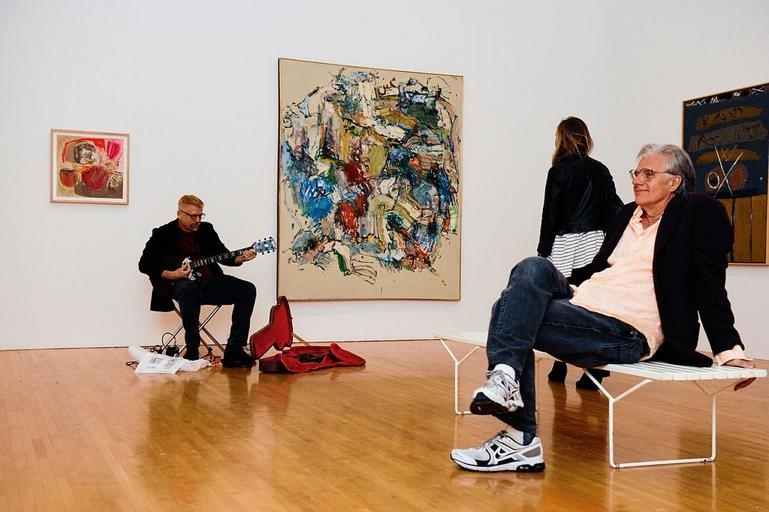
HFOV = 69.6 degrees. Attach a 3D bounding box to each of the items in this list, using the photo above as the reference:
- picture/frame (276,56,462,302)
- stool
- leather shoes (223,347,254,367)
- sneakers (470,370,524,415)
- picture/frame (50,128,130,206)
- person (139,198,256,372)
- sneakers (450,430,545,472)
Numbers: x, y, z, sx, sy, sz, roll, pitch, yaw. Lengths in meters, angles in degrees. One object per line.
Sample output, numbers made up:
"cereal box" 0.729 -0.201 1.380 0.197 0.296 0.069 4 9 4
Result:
"picture/frame" -0.302 -0.931 6.847 2.933 3.489 0.152 0 1 -12
"stool" -2.044 0.786 5.868 0.959 0.739 0.550 -1 13 4
"leather shoes" -1.380 0.939 5.212 0.289 0.178 0.094 1 0 -18
"sneakers" 0.483 0.591 2.421 0.126 0.144 0.288 -8 -19 27
"picture/frame" -3.261 -0.966 6.048 0.807 0.855 0.069 1 -4 -18
"person" -1.779 0.215 5.427 1.154 1.611 0.543 1 0 20
"sneakers" 0.526 0.935 2.735 0.490 0.235 0.182 3 -14 1
